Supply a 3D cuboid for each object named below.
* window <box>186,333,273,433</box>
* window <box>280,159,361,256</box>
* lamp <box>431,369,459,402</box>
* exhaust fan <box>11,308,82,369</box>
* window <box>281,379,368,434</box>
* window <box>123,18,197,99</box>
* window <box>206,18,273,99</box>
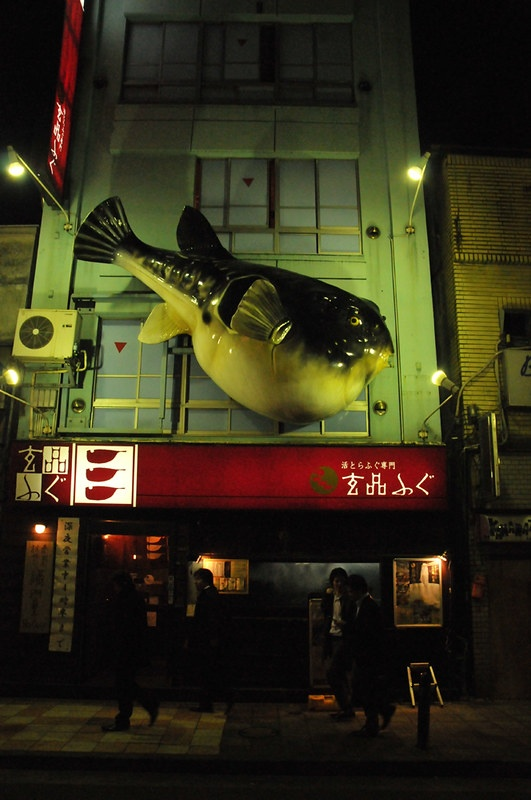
[{"bbox_3d":[-0.476,-0.196,9.487,1.711,1.697,0.075,0,-8,2],"label":"window"},{"bbox_3d":[0.940,-3.316,11.919,2.089,2.234,0.114,0,-17,0],"label":"window"},{"bbox_3d":[2.880,-0.250,10.887,0.423,0.488,0.803,-4,-13,15],"label":"lamp"},{"bbox_3d":[-3.357,-0.950,10.491,0.981,0.805,0.357,1,-25,-5],"label":"exhaust fan"},{"bbox_3d":[0.763,0.097,9.273,0.915,0.520,0.062,1,-17,1],"label":"window"},{"bbox_3d":[-1.933,-6.258,12.541,1.805,1.733,0.089,2,-14,5],"label":"window"},{"bbox_3d":[-0.482,-6.270,12.573,1.799,1.661,0.121,1,-14,-2],"label":"window"}]
